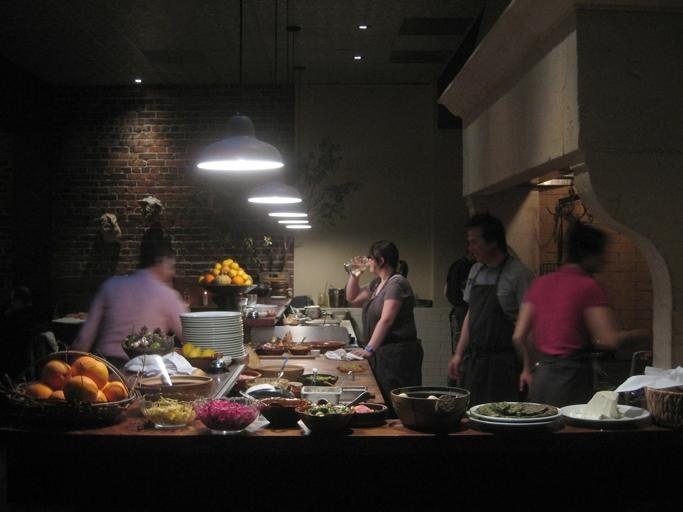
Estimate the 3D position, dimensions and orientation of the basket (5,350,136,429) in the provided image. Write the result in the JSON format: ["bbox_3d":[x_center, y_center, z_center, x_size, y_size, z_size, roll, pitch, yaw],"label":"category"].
[{"bbox_3d":[-1.183,0.573,2.658,0.441,0.188,0.390,-2,-4,32],"label":"basket"}]

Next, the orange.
[{"bbox_3d":[-1.097,0.475,2.698,0.279,0.114,0.274,4,-1,17],"label":"orange"}]

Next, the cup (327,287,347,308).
[{"bbox_3d":[-0.067,0.545,8.251,0.269,0.220,0.208,-2,-4,26],"label":"cup"}]

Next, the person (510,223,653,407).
[{"bbox_3d":[1.302,0.370,3.555,0.749,1.101,0.386,6,13,29],"label":"person"}]

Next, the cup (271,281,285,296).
[{"bbox_3d":[-0.834,0.430,8.370,0.197,0.121,0.178,-1,-2,6],"label":"cup"}]

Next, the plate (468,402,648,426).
[{"bbox_3d":[0.886,0.671,2.656,0.401,0.034,0.259,0,-5,1],"label":"plate"}]

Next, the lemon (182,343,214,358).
[{"bbox_3d":[-0.838,0.552,3.707,0.109,0.041,0.104,0,-2,15],"label":"lemon"}]

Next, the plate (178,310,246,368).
[{"bbox_3d":[-0.780,0.509,3.921,0.365,0.222,0.353,0,1,30],"label":"plate"}]

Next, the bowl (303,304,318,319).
[{"bbox_3d":[-0.320,0.578,6.551,0.150,0.086,0.104,0,0,9],"label":"bowl"}]
